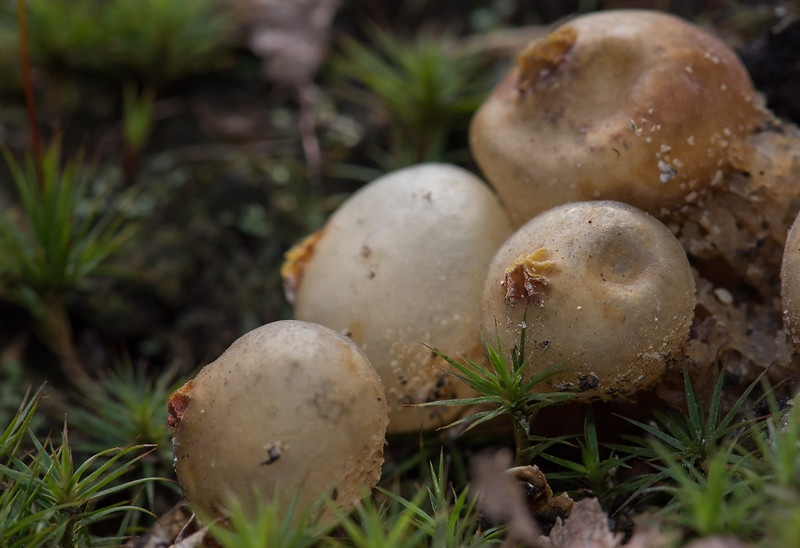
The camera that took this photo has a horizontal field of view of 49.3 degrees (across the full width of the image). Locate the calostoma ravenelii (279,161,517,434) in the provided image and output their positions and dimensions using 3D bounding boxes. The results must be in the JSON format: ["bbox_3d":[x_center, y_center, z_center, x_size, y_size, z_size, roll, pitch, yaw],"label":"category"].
[{"bbox_3d":[0.054,0.136,3.117,0.818,0.471,0.720,-44,74,2],"label":"calostoma ravenelii"}]
